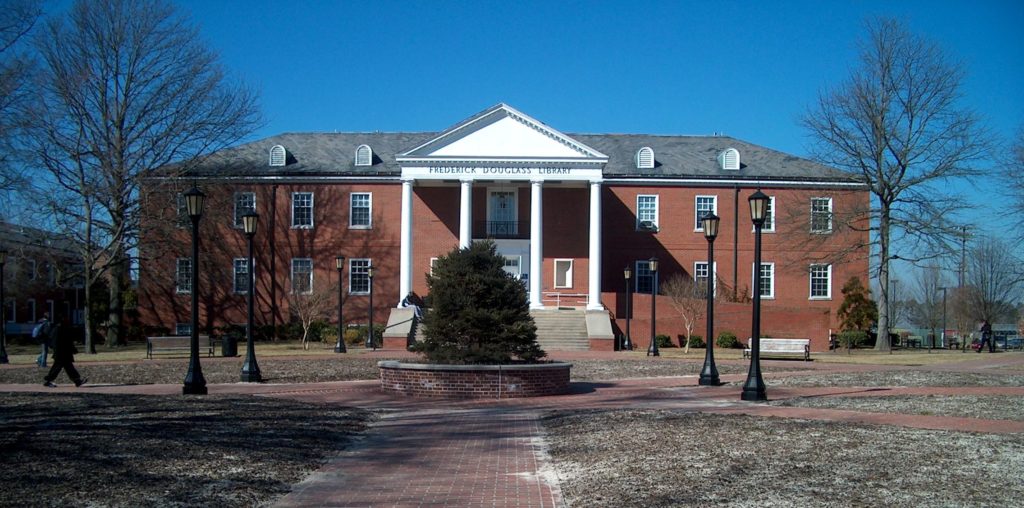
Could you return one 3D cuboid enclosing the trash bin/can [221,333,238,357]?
[{"bbox_3d":[-17.917,5.812,65.470,1.438,1.383,1.341,0,-1,-17],"label":"trash bin/can"}]
